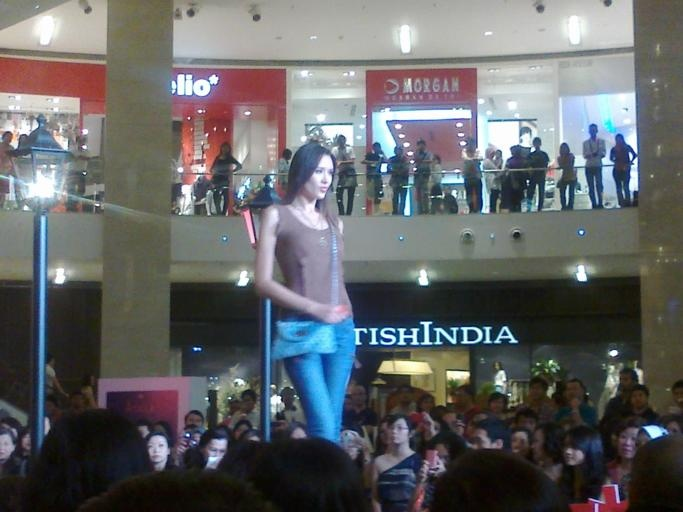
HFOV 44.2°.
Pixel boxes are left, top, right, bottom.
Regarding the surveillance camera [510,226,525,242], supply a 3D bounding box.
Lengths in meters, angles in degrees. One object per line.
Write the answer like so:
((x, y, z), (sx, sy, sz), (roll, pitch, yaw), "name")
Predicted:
((2.702, -0.328, 12.897), (0.204, 0.190, 0.084), (-1, -5, 15), "surveillance camera")

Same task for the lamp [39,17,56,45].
((-5.603, -4.312, 16.060), (0.288, 0.499, 0.110), (9, 26, -8), "lamp")

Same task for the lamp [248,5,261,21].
((-1.606, -4.511, 15.684), (0.230, 0.251, 0.232), (-5, -41, -3), "lamp")

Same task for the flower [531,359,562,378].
((3.469, 1.869, 14.116), (0.352, 0.136, 0.343), (-4, 27, -1), "flower")

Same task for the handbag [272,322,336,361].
((-0.182, 0.389, 4.014), (0.308, 0.198, 0.176), (2, 7, 6), "handbag")

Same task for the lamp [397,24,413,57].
((1.268, -4.291, 16.636), (0.241, 0.115, 0.482), (-2, -33, 5), "lamp")

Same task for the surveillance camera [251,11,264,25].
((-1.545, -4.460, 15.709), (0.186, 0.179, 0.207), (0, -5, -13), "surveillance camera")

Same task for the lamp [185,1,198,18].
((-2.751, -4.511, 15.477), (0.216, 0.273, 0.237), (-5, -4, 39), "lamp")

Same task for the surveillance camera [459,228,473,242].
((1.957, -0.307, 13.058), (0.211, 0.203, 0.089), (-1, -5, 13), "surveillance camera")

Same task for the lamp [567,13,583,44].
((4.484, -4.334, 16.177), (0.241, 0.485, 0.119), (0, 22, 4), "lamp")
